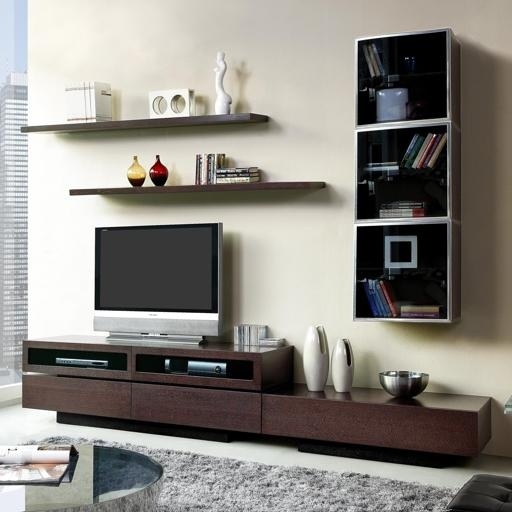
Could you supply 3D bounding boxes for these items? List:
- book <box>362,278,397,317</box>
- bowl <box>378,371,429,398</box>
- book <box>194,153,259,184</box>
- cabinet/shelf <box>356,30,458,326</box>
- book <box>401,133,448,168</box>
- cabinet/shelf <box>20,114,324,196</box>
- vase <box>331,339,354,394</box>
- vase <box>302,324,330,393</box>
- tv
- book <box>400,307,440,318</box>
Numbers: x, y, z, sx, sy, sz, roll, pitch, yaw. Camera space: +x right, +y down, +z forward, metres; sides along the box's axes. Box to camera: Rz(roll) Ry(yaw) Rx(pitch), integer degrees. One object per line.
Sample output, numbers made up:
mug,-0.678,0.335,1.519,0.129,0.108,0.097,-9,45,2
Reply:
book,0.696,0.244,3.201,0.057,0.219,0.140,-21,-9,42
bowl,0.832,0.707,3.206,0.253,0.141,0.353,0,3,16
book,-0.222,-0.586,3.874,0.564,0.228,0.254,1,3,36
cabinet/shelf,0.852,-0.435,3.264,0.518,1.668,0.264,-2,-8,25
book,0.905,-0.565,3.103,0.163,0.191,0.040,24,8,36
cabinet/shelf,-0.539,-0.687,4.009,1.964,0.574,0.354,-3,4,6
vase,0.509,0.639,3.318,0.128,0.310,0.122,-1,2,-1
vase,0.366,0.606,3.355,0.151,0.373,0.145,-1,2,-6
tv,-0.628,0.201,3.868,0.644,0.682,0.143,0,-2,20
book,0.891,0.303,3.108,0.211,0.067,0.017,0,2,29
